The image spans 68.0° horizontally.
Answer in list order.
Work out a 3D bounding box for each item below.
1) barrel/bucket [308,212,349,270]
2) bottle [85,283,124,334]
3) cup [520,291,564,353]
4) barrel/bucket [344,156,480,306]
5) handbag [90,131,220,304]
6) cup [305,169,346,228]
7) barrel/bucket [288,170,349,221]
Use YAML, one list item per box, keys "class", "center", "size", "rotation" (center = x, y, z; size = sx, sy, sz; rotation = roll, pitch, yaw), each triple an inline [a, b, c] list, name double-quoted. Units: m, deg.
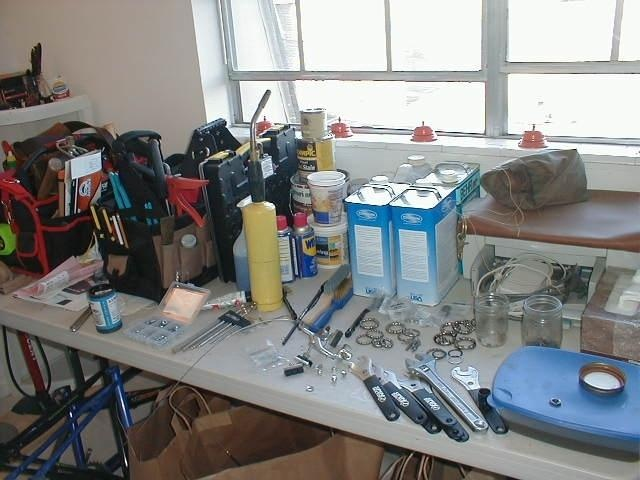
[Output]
- class: "barrel/bucket"
  center: [0.062, -0.006, 1.668]
  size: [0.157, 0.168, 0.159]
  rotation: [-6, 25, 3]
- class: "bottle"
  center: [-0.629, 0.204, 1.389]
  size: [0.076, 0.120, 0.077]
  rotation: [-6, 13, 1]
- class: "cup"
  center: [0.582, 0.207, 1.230]
  size: [0.106, 0.113, 0.107]
  rotation: [-9, 1, 0]
- class: "barrel/bucket"
  center: [0.274, -0.172, 1.508]
  size: [0.345, 0.412, 0.620]
  rotation: [8, 30, 28]
- class: "handbag"
  center: [-0.549, -0.083, 1.568]
  size: [0.306, 0.485, 0.361]
  rotation: [-23, 25, -36]
- class: "cup"
  center: [0.023, -0.150, 1.639]
  size: [0.156, 0.162, 0.155]
  rotation: [-2, 20, 1]
- class: "barrel/bucket"
  center: [0.037, -0.132, 1.628]
  size: [0.176, 0.132, 0.163]
  rotation: [-6, 8, 1]
